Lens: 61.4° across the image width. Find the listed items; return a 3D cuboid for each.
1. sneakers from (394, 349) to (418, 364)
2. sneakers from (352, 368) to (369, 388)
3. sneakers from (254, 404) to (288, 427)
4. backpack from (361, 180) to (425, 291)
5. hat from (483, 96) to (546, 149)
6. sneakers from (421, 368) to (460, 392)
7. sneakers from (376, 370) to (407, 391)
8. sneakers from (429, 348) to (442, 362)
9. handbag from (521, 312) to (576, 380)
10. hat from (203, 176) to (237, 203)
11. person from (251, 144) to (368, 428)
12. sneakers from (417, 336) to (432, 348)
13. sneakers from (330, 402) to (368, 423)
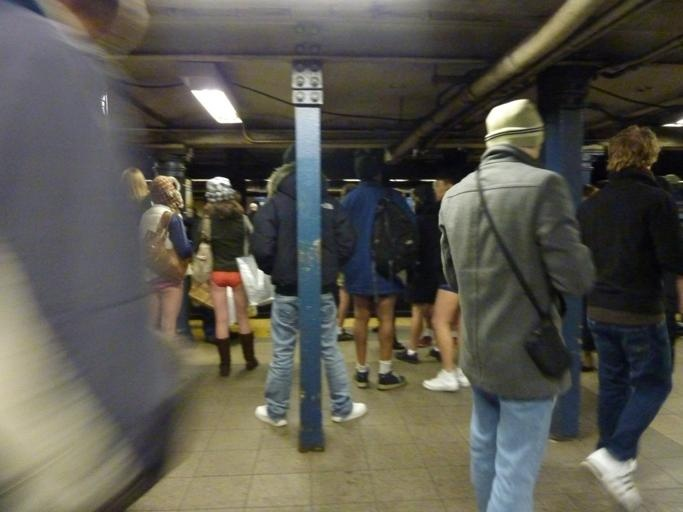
[{"bbox_3d":[0.671,1.030,5.909,0.100,0.089,0.254,1,0,-23],"label":"sneakers"},{"bbox_3d":[0.188,1.056,4.952,0.087,0.084,0.211,1,4,1],"label":"sneakers"},{"bbox_3d":[-0.524,1.172,4.216,0.114,0.094,0.293,-13,22,-43],"label":"sneakers"},{"bbox_3d":[0.436,-0.120,4.736,0.385,0.869,0.302,0,7,6],"label":"backpack"},{"bbox_3d":[0.784,-0.581,2.499,0.227,0.193,0.288,-13,13,-36],"label":"hat"},{"bbox_3d":[0.871,1.069,4.918,0.387,0.173,0.133,-2,-5,6],"label":"sneakers"},{"bbox_3d":[0.426,1.068,4.994,0.318,0.173,0.113,-4,5,-26],"label":"sneakers"},{"bbox_3d":[0.993,1.029,6.031,0.088,0.083,0.215,1,9,-2],"label":"sneakers"},{"bbox_3d":[0.810,0.360,2.248,0.201,0.246,0.069,-36,9,-19],"label":"handbag"},{"bbox_3d":[-1.121,-0.606,5.300,0.327,0.265,0.202,-8,14,-21],"label":"hat"},{"bbox_3d":[-0.231,0.235,3.956,0.746,1.970,0.481,-1,7,-8],"label":"person"},{"bbox_3d":[0.941,0.958,6.424,0.084,0.142,0.221,1,7,-2],"label":"sneakers"},{"bbox_3d":[0.070,1.147,4.273,0.293,0.104,0.104,-7,17,-31],"label":"sneakers"}]
